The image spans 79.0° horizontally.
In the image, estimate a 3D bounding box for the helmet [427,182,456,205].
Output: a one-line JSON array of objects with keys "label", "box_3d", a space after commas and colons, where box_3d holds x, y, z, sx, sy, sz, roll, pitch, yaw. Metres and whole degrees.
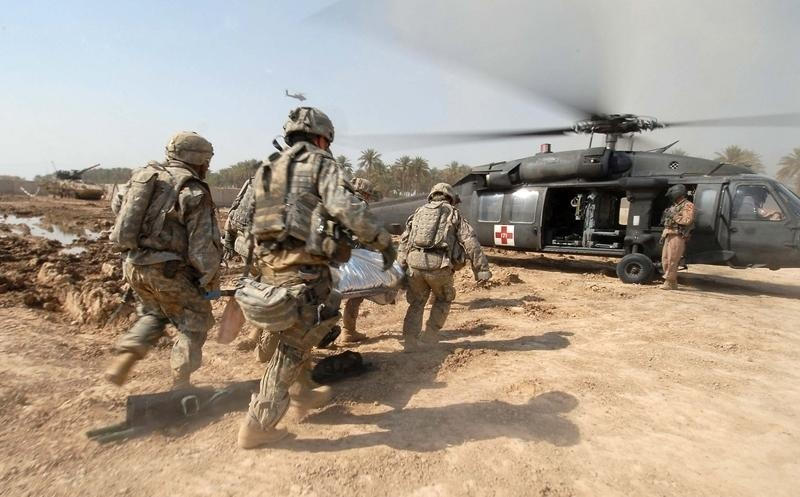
[{"label": "helmet", "box_3d": [0.652, -0.807, 7.301, 0.325, 0.223, 0.413, 4, 5, 5]}]

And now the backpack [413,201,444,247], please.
[{"label": "backpack", "box_3d": [0.352, -0.310, 6.807, 0.501, 0.556, 0.252, 0, -19, 34]}]

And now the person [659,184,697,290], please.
[{"label": "person", "box_3d": [5.481, -0.202, 9.651, 0.536, 2.055, 0.700, 4, 14, 27]}]

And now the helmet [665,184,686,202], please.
[{"label": "helmet", "box_3d": [5.518, -1.114, 9.771, 0.492, 0.317, 0.319, -19, 19, -20]}]

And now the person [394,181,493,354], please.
[{"label": "person", "box_3d": [0.589, 0.370, 6.932, 1.153, 2.002, 0.717, -2, 12, -2]}]

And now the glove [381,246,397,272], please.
[{"label": "glove", "box_3d": [-0.113, 0.103, 4.931, 0.196, 0.214, 0.068, 8, 3, 9]}]

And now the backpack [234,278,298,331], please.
[{"label": "backpack", "box_3d": [-1.331, 0.542, 4.744, 0.583, 0.213, 0.465, 12, -2, 33]}]

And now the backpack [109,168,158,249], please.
[{"label": "backpack", "box_3d": [-2.911, -0.444, 5.496, 0.695, 0.813, 0.330, 8, -9, 32]}]
